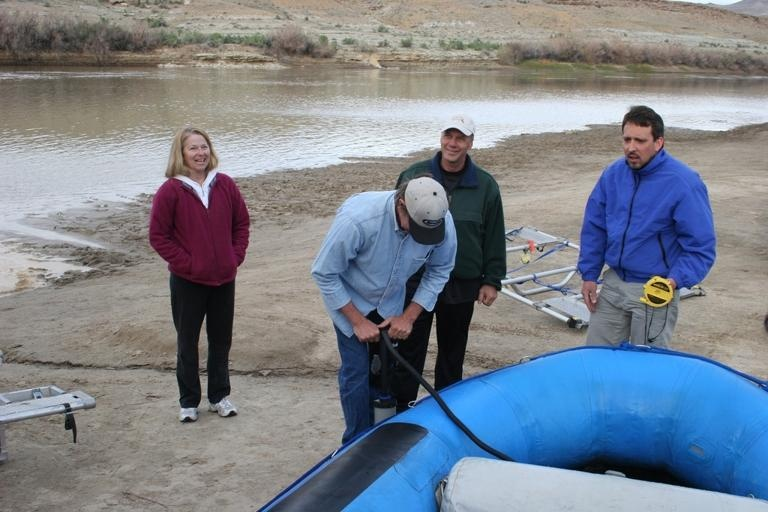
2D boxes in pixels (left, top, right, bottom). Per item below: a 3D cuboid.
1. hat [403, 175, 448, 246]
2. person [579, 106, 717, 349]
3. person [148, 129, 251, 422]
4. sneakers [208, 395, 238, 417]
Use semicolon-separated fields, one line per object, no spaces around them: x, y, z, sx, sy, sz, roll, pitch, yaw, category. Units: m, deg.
0.307;-0.340;5.425;0.348;0.459;0.208;-4;-8;-16;hat
2.189;-0.199;6.071;1.096;2.051;0.641;6;18;21;person
-1.614;0.188;6.496;0.829;2.615;0.484;-6;18;-16;person
-1.482;1.399;6.758;0.291;0.121;0.133;5;5;34;sneakers
